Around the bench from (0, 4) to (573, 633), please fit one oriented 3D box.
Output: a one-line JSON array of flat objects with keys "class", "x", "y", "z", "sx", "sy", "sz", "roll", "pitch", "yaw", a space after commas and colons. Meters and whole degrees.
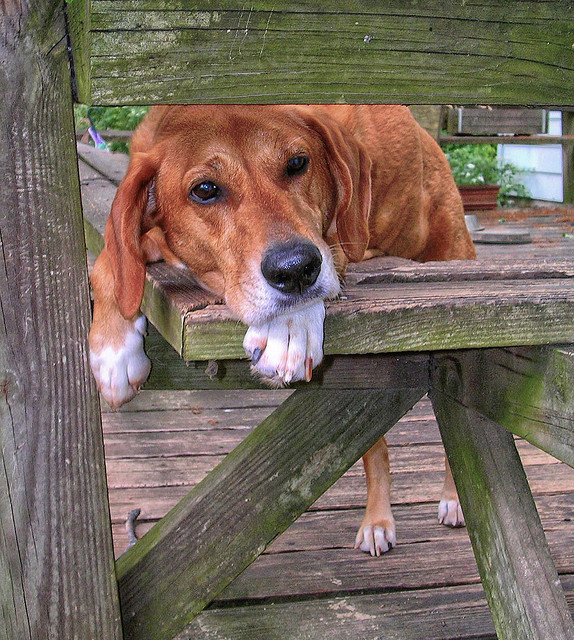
[{"class": "bench", "x": -0.030, "y": -0.070, "z": 2.071, "sx": 0.651, "sy": 1.204, "sz": 1.588, "roll": 0, "pitch": 7, "yaw": -2}]
